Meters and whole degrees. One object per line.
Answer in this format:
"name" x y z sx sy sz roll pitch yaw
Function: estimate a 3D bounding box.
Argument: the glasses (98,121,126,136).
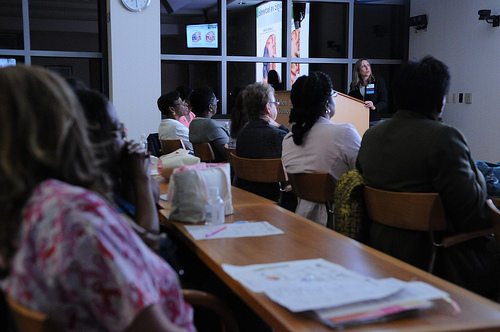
"glasses" -0.402 -0.107 1.093 0.049 0.029 0.069 -1 7 -9

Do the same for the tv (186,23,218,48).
"tv" -1.060 -2.888 8.462 0.335 0.567 1.035 -9 13 -41
